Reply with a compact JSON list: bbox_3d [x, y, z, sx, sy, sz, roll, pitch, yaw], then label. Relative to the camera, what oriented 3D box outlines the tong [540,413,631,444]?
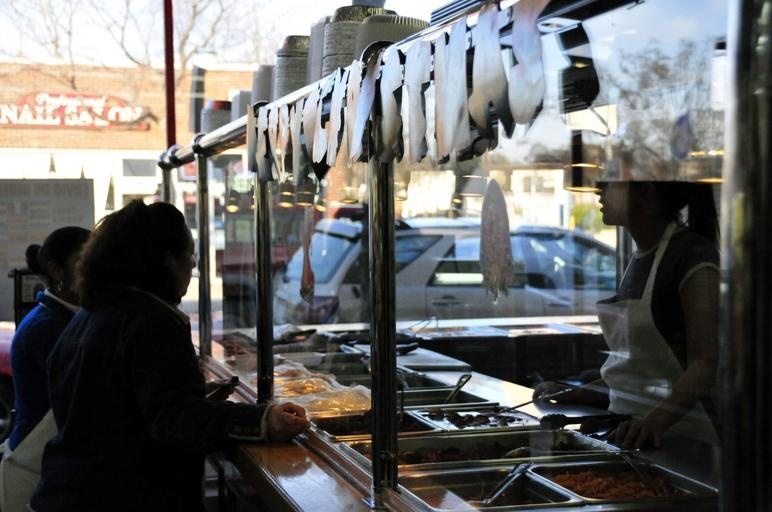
[{"bbox_3d":[0.661,0.551,2.742,0.309,0.046,0.173,-1,13,3],"label":"tong"}]

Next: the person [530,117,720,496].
[{"bbox_3d":[0.842,0.175,2.831,0.556,0.822,0.799,2,13,18],"label":"person"}]
